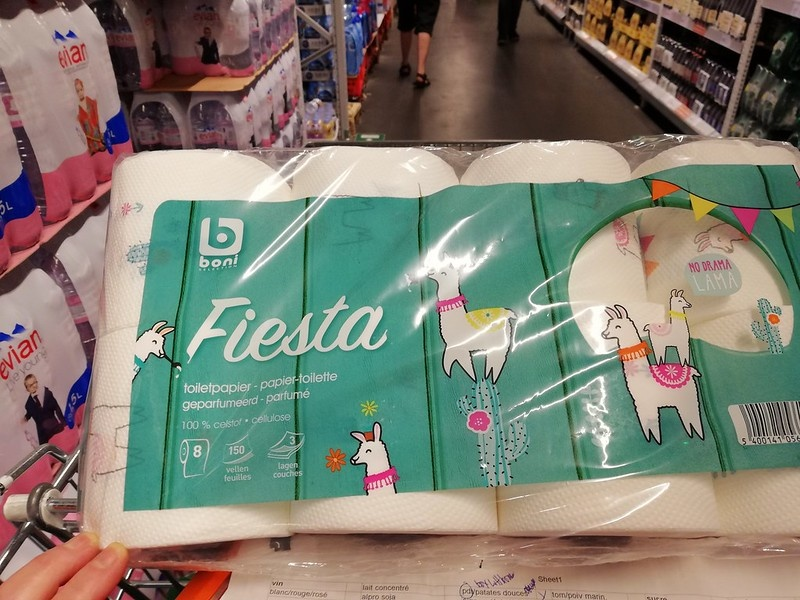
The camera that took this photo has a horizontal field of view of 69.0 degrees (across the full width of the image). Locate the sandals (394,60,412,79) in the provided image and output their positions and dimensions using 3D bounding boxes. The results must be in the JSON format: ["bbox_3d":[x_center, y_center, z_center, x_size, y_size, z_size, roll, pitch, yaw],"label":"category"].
[{"bbox_3d":[0.037,-2.696,6.791,0.161,0.119,0.444,-2,49,4],"label":"sandals"}]

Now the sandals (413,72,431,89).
[{"bbox_3d":[0.215,-2.344,6.176,0.109,0.111,0.247,0,20,10],"label":"sandals"}]
